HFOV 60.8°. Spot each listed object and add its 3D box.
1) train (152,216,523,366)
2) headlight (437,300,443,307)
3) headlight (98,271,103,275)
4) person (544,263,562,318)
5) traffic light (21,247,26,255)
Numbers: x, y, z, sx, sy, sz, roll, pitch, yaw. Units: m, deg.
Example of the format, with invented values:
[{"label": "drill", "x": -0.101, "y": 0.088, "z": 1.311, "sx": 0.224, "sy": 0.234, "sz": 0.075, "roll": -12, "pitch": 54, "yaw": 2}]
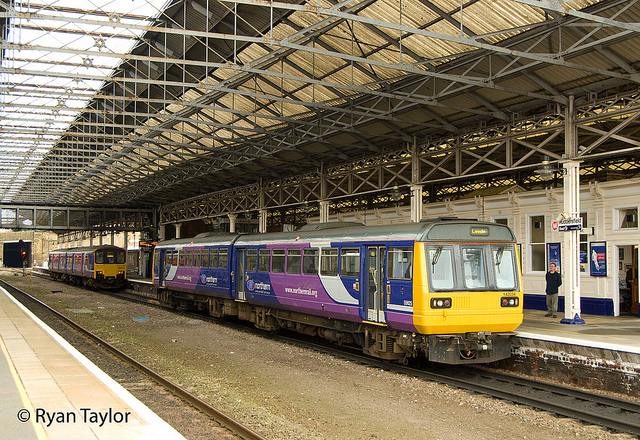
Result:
[{"label": "train", "x": -1.905, "y": 2.748, "z": 23.559, "sx": 3.300, "sy": 5.029, "sz": 21.193, "roll": 4, "pitch": -8, "yaw": -37}, {"label": "headlight", "x": 3.327, "y": 2.314, "z": 15.122, "sx": 0.189, "sy": 0.142, "sz": 0.043, "roll": -2, "pitch": -7, "yaw": -6}, {"label": "headlight", "x": -18.048, "y": 4.348, "z": 44.804, "sx": 0.337, "sy": 0.205, "sz": 0.055, "roll": 1, "pitch": -7, "yaw": -16}, {"label": "person", "x": 9.637, "y": 2.931, "z": 22.738, "sx": 0.694, "sy": 2.243, "sz": 0.816, "roll": -2, "pitch": -6, "yaw": 12}, {"label": "traffic light", "x": -29.169, "y": 3.168, "z": 53.749, "sx": 0.291, "sy": 0.768, "sz": 1.030, "roll": 2, "pitch": -7, "yaw": -26}]
